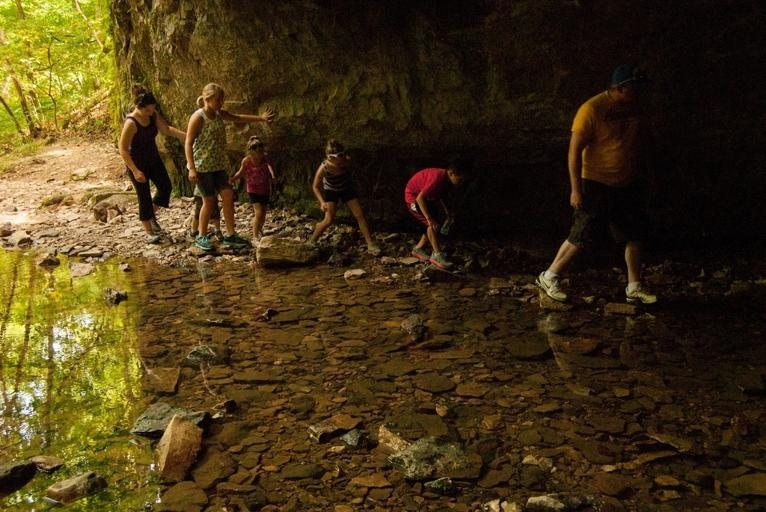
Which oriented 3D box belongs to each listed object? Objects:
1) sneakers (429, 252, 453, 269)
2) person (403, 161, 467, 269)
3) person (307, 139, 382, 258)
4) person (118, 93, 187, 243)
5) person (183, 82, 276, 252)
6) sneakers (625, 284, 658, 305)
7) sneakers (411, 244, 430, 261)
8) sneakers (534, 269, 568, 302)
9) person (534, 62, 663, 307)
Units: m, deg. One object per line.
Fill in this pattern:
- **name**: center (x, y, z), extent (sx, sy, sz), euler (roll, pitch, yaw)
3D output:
- **sneakers**: center (0.695, 0.055, 6.600), extent (0.317, 0.108, 0.152), euler (13, 24, 27)
- **person**: center (0.672, -0.553, 6.809), extent (0.751, 1.315, 1.332), euler (-7, 14, 3)
- **person**: center (-0.600, -0.752, 7.010), extent (0.931, 1.533, 0.448), euler (-8, 15, 1)
- **person**: center (-3.138, -1.214, 7.226), extent (0.702, 2.066, 0.837), euler (-15, 16, -22)
- **person**: center (-2.130, -1.126, 6.928), extent (1.033, 2.116, 0.480), euler (-13, 15, -16)
- **sneakers**: center (2.722, 0.395, 5.506), extent (0.340, 0.159, 0.170), euler (10, 37, 39)
- **sneakers**: center (0.486, -0.043, 6.800), extent (0.247, 0.087, 0.142), euler (21, 35, 24)
- **sneakers**: center (1.811, 0.329, 5.637), extent (0.429, 0.183, 0.187), euler (36, 53, 23)
- **person**: center (2.201, -0.657, 5.400), extent (1.036, 2.386, 0.492), euler (-5, 15, 12)
